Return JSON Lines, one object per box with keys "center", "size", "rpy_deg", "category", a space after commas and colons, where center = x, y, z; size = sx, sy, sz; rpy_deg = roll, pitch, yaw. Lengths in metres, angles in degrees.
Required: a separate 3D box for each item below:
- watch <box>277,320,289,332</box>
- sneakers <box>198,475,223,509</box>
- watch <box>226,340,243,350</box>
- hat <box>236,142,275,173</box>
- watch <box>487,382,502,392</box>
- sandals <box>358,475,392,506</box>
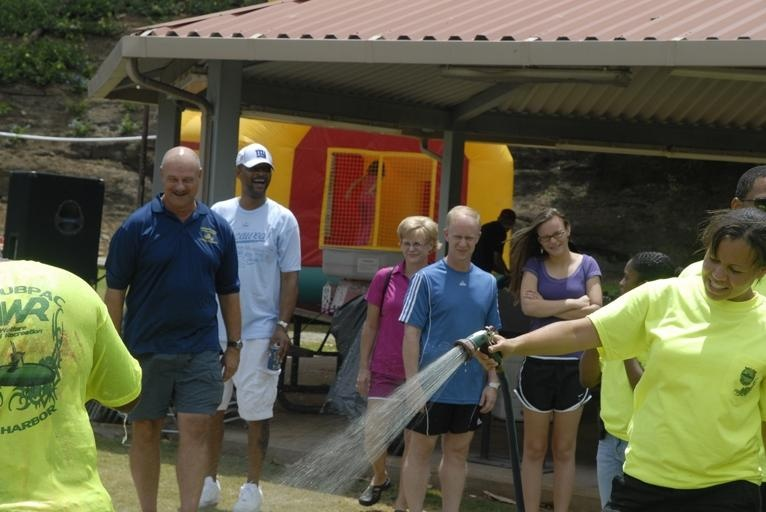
{"center": [-0.778, 0.523, 6.983], "size": [0.093, 0.064, 0.097], "rpy_deg": [22, -3, -13], "category": "watch"}
{"center": [-1.339, 1.823, 6.966], "size": [0.152, 0.225, 0.312], "rpy_deg": [-1, -5, 12], "category": "sneakers"}
{"center": [-1.092, 0.650, 6.635], "size": [0.092, 0.064, 0.100], "rpy_deg": [-4, -10, 23], "category": "watch"}
{"center": [-1.041, -0.780, 7.126], "size": [0.195, 0.158, 0.278], "rpy_deg": [1, 0, -20], "category": "hat"}
{"center": [0.791, 0.912, 6.430], "size": [0.083, 0.057, 0.086], "rpy_deg": [4, -4, 18], "category": "watch"}
{"center": [-0.076, 1.887, 7.269], "size": [0.118, 0.131, 0.328], "rpy_deg": [5, 17, 36], "category": "sandals"}
